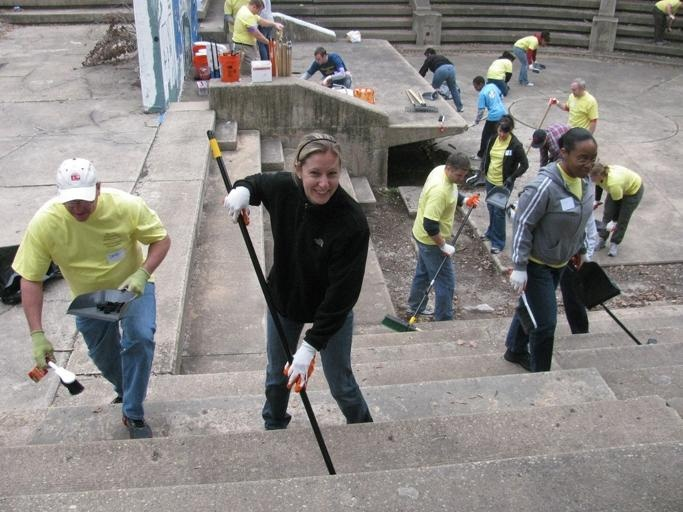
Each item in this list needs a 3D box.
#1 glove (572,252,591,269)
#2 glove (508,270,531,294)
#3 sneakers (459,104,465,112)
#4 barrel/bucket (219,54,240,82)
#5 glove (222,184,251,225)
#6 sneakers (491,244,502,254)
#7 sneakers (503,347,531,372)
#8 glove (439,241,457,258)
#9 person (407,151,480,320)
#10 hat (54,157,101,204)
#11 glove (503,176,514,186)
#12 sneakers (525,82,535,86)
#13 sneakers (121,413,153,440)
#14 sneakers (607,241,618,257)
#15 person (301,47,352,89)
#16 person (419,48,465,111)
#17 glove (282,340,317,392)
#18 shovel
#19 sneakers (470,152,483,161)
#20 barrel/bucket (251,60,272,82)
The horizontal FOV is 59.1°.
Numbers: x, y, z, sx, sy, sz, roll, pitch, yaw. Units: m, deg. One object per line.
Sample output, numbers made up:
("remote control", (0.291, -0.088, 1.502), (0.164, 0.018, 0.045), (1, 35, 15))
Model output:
("glove", (2.181, 0.030, 5.400), (0.197, 0.062, 0.064), (-27, 25, 5))
("glove", (1.481, 0.201, 4.984), (0.137, 0.184, 0.068), (3, -1, 3))
("sneakers", (2.807, -3.396, 13.831), (0.103, 0.136, 0.338), (-3, -4, 10))
("barrel/bucket", (-1.827, -3.111, 9.887), (0.334, 0.441, 0.292), (-5, 23, -10))
("glove", (-0.685, -0.356, 4.013), (0.186, 0.239, 0.095), (5, -12, -2))
("sneakers", (2.326, -0.105, 8.879), (0.098, 0.070, 0.212), (-3, 0, -6))
("sneakers", (1.600, 0.906, 5.349), (0.273, 0.105, 0.101), (28, 16, 11))
("glove", (1.226, -0.087, 6.860), (0.152, 0.206, 0.260), (2, 23, 8))
("person", (1.083, -0.148, 6.955), (0.648, 2.101, 0.582), (8, 25, 20))
("hat", (-1.750, -0.525, 3.938), (0.262, 0.210, 0.384), (-3, 34, -19))
("glove", (2.518, -1.107, 8.890), (0.127, 0.135, 0.106), (36, -6, -5))
("sneakers", (5.123, -4.637, 16.084), (0.286, 0.119, 0.107), (-1, 39, -2))
("sneakers", (-1.386, 1.164, 4.097), (0.230, 0.095, 0.112), (27, 26, 4))
("sneakers", (3.960, -0.109, 8.576), (0.093, 0.184, 0.275), (-1, 16, 28))
("person", (-0.203, -3.804, 12.092), (0.853, 0.793, 0.906), (-18, 28, -35))
("person", (2.412, -4.072, 13.818), (0.791, 1.331, 1.260), (-2, 23, -3))
("glove", (-0.257, 0.681, 3.772), (0.198, 0.335, 0.114), (21, -7, -17))
("shovel", (2.836, 0.527, 6.286), (0.149, 0.822, 0.275), (-32, -3, -39))
("sneakers", (2.665, -1.934, 11.645), (0.249, 0.105, 0.092), (14, 22, 30))
("barrel/bucket", (-1.324, -3.083, 10.044), (0.353, 0.302, 0.338), (2, 38, -2))
